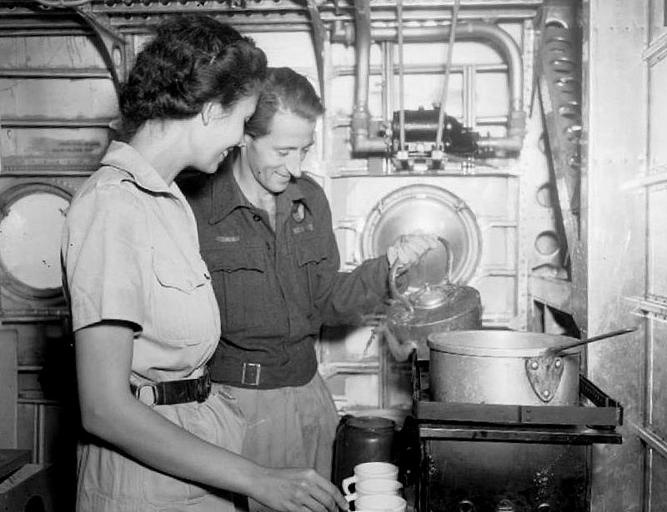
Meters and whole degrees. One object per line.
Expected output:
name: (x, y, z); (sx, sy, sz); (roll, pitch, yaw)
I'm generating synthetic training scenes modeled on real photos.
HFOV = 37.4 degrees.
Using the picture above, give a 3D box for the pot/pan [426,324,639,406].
pot/pan: (0.675, 0.445, 3.930); (0.622, 0.242, 0.404); (-2, -4, 37)
